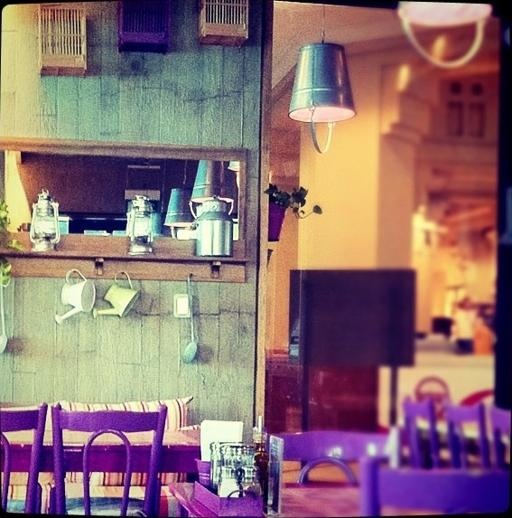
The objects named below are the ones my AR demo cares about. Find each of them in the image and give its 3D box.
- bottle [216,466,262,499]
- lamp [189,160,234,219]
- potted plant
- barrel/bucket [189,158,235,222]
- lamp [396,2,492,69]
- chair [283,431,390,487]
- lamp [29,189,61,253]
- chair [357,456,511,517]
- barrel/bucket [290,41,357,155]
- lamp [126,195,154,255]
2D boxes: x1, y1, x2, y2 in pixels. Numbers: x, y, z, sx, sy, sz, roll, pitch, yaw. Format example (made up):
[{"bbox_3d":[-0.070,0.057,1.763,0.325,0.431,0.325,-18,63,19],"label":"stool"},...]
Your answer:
[{"bbox_3d":[-0.066,0.834,4.603,0.149,0.107,0.045,0,1,-2],"label":"bottle"},{"bbox_3d":[-0.213,-0.311,5.877,0.228,0.334,0.237,0,-7,-5],"label":"lamp"},{"bbox_3d":[0.169,-0.231,5.949,0.273,0.297,0.286,7,-3,-19],"label":"potted plant"},{"bbox_3d":[-0.199,-0.322,5.921,0.232,0.340,0.242,0,-6,0],"label":"barrel/bucket"},{"bbox_3d":[1.010,-1.218,6.747,0.495,0.374,0.182,1,1,10],"label":"lamp"},{"bbox_3d":[0.302,0.767,4.978,0.310,0.341,0.231,-1,-14,4],"label":"chair"},{"bbox_3d":[-0.973,-0.151,5.754,0.136,0.245,0.048,0,1,-10],"label":"lamp"},{"bbox_3d":[0.598,0.797,4.301,0.487,0.216,0.387,3,-9,-12],"label":"chair"},{"bbox_3d":[0.265,-0.725,5.663,0.337,0.551,0.344,-1,-5,0],"label":"barrel/bucket"},{"bbox_3d":[-0.538,-0.152,5.801,0.111,0.271,0.067,0,1,-11],"label":"lamp"}]
